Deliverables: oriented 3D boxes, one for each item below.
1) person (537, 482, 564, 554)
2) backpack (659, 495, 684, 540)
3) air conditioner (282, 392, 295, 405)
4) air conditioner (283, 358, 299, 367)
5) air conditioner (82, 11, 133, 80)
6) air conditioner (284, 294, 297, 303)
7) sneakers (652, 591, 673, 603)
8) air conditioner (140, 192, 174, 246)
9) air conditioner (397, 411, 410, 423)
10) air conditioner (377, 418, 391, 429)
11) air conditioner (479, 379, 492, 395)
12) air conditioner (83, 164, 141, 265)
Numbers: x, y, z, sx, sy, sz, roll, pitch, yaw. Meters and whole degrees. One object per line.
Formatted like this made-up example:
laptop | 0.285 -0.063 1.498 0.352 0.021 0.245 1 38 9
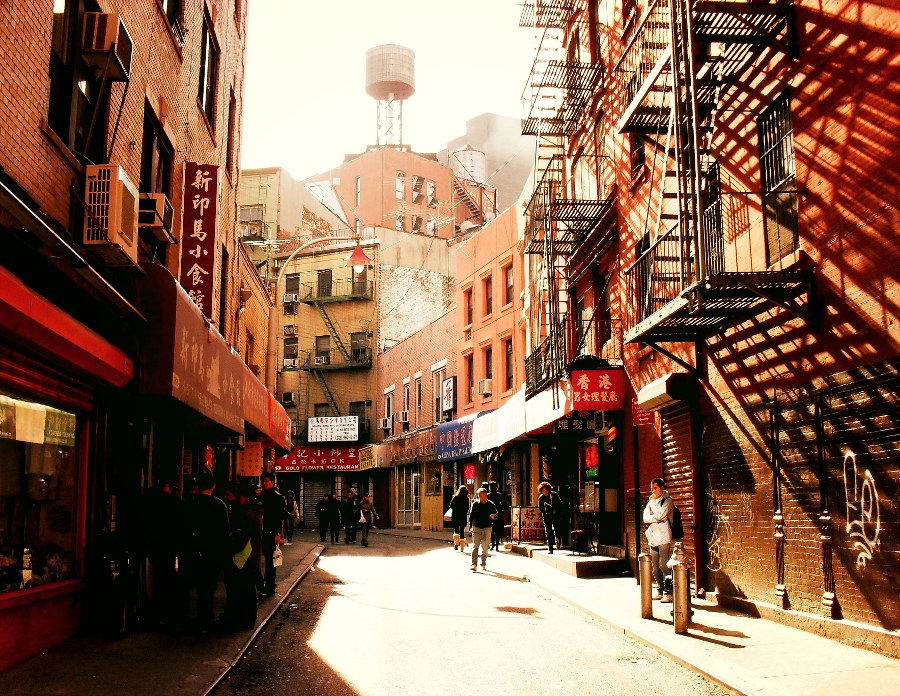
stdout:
person | 2.623 4.383 24.130 0.542 1.700 2.138 0 -6 7
backpack | 3.533 2.694 14.625 0.201 0.697 0.495 -2 -6 23
air conditioner | -9.336 2.918 53.427 0.559 0.960 0.633 -1 -4 4
air conditioner | -9.232 0.882 53.687 1.155 0.573 0.212 -5 -7 35
air conditioner | -4.464 -3.890 11.949 0.413 0.720 0.924 0 -13 -3
air conditioner | -9.303 -2.889 53.839 0.475 0.587 0.138 -1 -5 20
sneakers | 3.463 4.053 15.066 0.350 0.167 0.129 5 -8 -19
air conditioner | -4.609 -2.002 14.435 0.429 0.668 0.945 0 -5 -1
air conditioner | -2.280 3.357 45.280 0.406 0.699 0.630 3 -7 -19
air conditioner | -3.324 3.917 47.946 0.432 0.553 0.690 2 -5 -11
air conditioner | 1.338 1.510 35.740 0.411 0.730 0.648 3 -7 -14
air conditioner | -4.275 -1.689 11.823 0.358 1.094 1.085 -1 -10 -3
